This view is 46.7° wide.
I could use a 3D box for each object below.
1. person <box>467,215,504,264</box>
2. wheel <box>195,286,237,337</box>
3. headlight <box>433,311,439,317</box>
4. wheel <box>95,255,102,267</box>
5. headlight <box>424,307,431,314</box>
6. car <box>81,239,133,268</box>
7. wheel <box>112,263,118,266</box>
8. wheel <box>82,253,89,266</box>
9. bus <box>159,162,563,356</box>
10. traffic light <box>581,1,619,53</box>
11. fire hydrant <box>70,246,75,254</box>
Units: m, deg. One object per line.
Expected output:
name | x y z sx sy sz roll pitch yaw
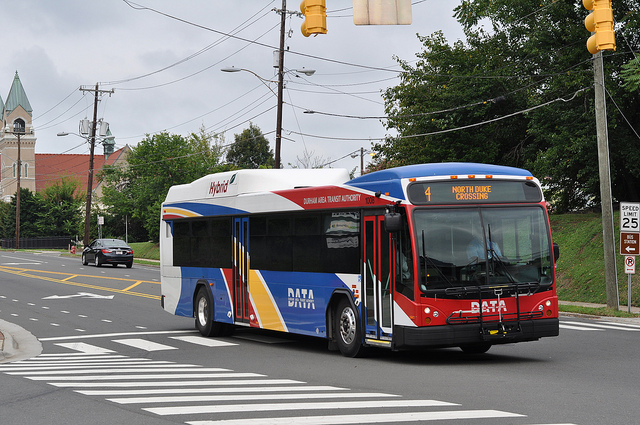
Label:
person | 3.617 0.615 16.234 0.758 1.050 0.294 2 -1 1
wheel | -3.269 2.930 21.826 0.499 1.315 1.288 5 13 -41
headlight | 2.491 2.182 15.868 0.118 0.115 0.028 1 0 6
wheel | -14.853 3.253 49.849 0.265 0.804 0.802 0 -4 -6
headlight | 2.305 2.101 15.830 0.131 0.132 0.031 -2 -1 0
car | -14.471 2.772 50.555 3.511 1.499 1.765 0 -3 41
wheel | -13.832 3.567 50.161 0.215 0.159 0.209 1 3 0
wheel | -16.316 3.302 51.727 0.288 0.876 0.866 4 -2 -23
bus | -0.082 1.241 19.946 12.401 4.715 3.611 -1 -3 45
traffic light | 5.301 -3.540 14.025 0.539 1.027 0.511 1 -1 19
fire hydrant | -23.567 3.698 71.335 0.504 0.796 0.393 7 6 29
